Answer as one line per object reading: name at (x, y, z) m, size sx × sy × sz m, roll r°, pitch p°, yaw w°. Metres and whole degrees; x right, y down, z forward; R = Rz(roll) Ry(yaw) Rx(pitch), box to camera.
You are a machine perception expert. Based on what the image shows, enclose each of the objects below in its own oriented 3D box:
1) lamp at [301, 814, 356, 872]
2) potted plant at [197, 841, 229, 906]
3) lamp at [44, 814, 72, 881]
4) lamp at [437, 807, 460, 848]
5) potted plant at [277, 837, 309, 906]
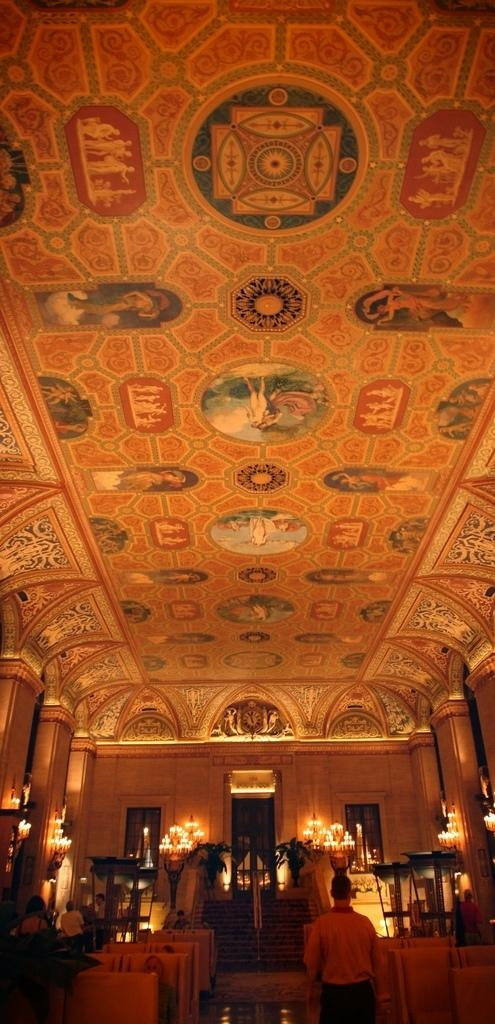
lamp at (2.430, 10.571, 17.934) m, size 1.503 × 1.519 × 0.955 m, roll -4°, pitch -32°, yaw 7°
potted plant at (-1.054, 11.293, 17.694) m, size 0.930 × 1.472 × 0.969 m, roll 2°, pitch -32°, yaw -3°
lamp at (-4.869, 9.025, 15.085) m, size 0.381 × 1.656 × 3.777 m, roll 7°, pitch -36°, yaw -11°
lamp at (5.215, 8.605, 15.250) m, size 0.357 × 1.126 × 2.287 m, roll -6°, pitch -36°, yaw 11°
potted plant at (1.297, 11.308, 17.951) m, size 1.125 × 1.544 × 1.221 m, roll 11°, pitch -17°, yaw -31°
